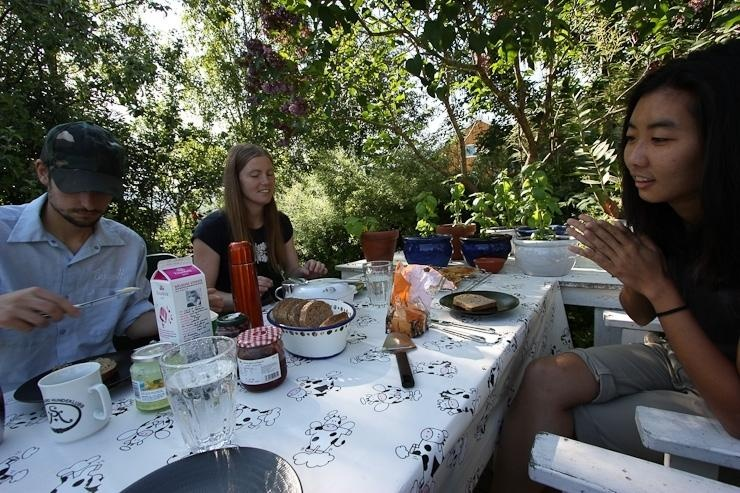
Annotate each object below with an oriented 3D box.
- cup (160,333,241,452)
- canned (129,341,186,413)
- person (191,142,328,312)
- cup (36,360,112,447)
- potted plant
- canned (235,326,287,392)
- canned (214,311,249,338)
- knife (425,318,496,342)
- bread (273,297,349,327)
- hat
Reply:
[{"bbox_3d":[-0.509,0.459,1.385,0.254,0.318,0.296,-5,6,11],"label":"cup"},{"bbox_3d":[-0.763,0.452,1.546,0.180,0.223,0.194,11,7,43],"label":"canned"},{"bbox_3d":[-0.780,-0.093,2.968,0.743,1.163,0.899,6,10,35],"label":"person"},{"bbox_3d":[-0.939,0.515,1.402,0.301,0.198,0.180,2,5,10],"label":"cup"},{"bbox_3d":[0.882,-0.196,2.985,1.070,0.828,0.757,0,11,24],"label":"potted plant"},{"bbox_3d":[-0.404,0.416,1.563,0.190,0.179,0.184,-1,7,25],"label":"canned"},{"bbox_3d":[-0.531,0.293,1.632,0.100,0.088,0.099,5,7,40],"label":"canned"},{"bbox_3d":[0.368,0.363,1.846,0.380,0.017,0.089,6,9,44],"label":"knife"},{"bbox_3d":[-0.255,0.238,1.724,0.262,0.103,0.242,-1,4,-43],"label":"bread"},{"bbox_3d":[-1.271,-0.384,1.872,0.315,0.335,0.192,-6,8,-31],"label":"hat"}]
